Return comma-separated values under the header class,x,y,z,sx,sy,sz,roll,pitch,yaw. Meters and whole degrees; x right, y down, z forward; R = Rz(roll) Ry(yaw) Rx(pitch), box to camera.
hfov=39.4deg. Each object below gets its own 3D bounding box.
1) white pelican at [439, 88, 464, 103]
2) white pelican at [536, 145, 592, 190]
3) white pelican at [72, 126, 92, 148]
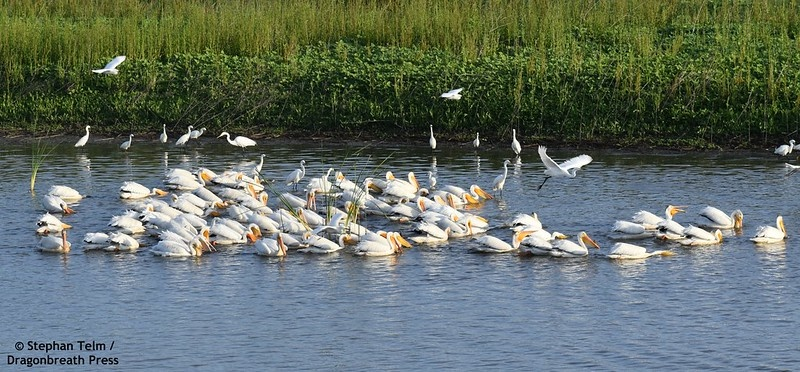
class,x,y,z,sx,sy,sz,roll,pitch,yaw
white pelican,2.219,-3.800,47.282,0.821,0.732,2.260,-1,15,4
white pelican,6.164,-0.610,42.058,1.079,0.750,1.758,39,19,15
white pelican,-13.564,-2.153,47.494,0.619,0.851,2.296,-5,15,-12
